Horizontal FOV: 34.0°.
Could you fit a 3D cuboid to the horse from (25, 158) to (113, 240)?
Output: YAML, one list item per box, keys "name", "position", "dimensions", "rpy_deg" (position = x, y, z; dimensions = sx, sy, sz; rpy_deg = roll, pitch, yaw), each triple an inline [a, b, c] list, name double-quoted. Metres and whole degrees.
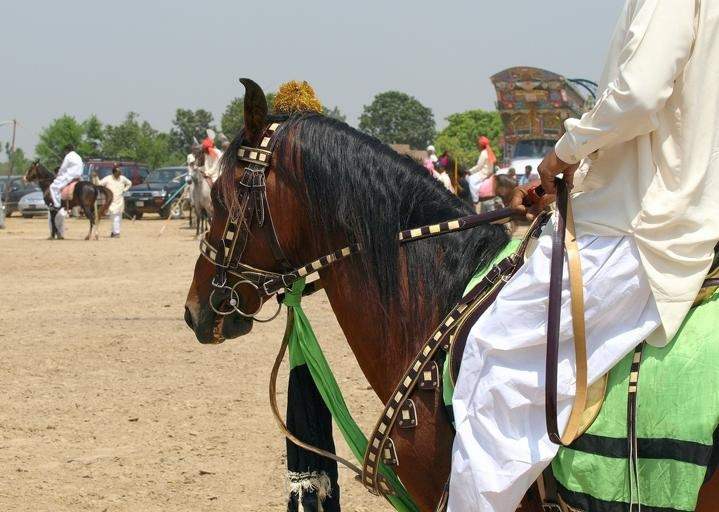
- name: "horse"
  position: [-5.695, -1.079, 22.952]
  dimensions: [2.004, 1.495, 0.441]
  rpy_deg: [4, 6, 22]

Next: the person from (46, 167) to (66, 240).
- name: "person"
  position: [-5.918, -0.899, 22.889]
  dimensions: [0.329, 1.328, 2.397]
  rpy_deg: [-1, 11, -14]

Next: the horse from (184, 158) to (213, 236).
- name: "horse"
  position: [-3.193, -1.020, 23.919]
  dimensions: [0.434, 1.229, 1.717]
  rpy_deg: [-8, -11, -8]

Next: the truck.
- name: "truck"
  position: [4.157, -2.122, 26.980]
  dimensions: [1.303, 1.358, 2.535]
  rpy_deg: [3, 12, 24]

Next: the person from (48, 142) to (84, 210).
- name: "person"
  position: [-5.728, -1.566, 22.899]
  dimensions: [0.587, 1.255, 0.474]
  rpy_deg: [9, 3, 24]
